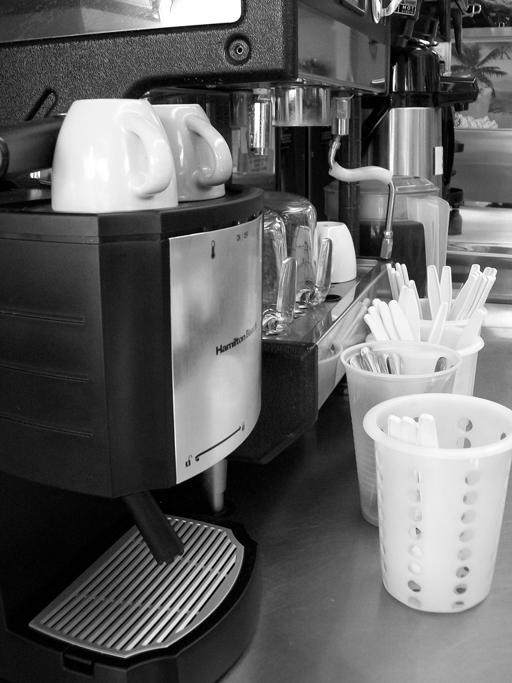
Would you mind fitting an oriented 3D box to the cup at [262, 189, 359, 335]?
[{"bbox_3d":[0.064,-0.113,0.680,0.100,0.147,0.194,-5,12,7],"label":"cup"}]

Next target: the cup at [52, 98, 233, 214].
[{"bbox_3d":[-0.057,-0.093,0.274,0.083,0.055,0.058,23,26,34],"label":"cup"}]
